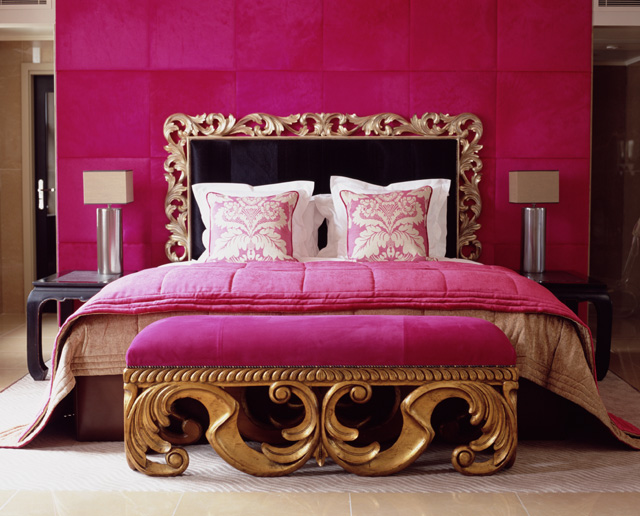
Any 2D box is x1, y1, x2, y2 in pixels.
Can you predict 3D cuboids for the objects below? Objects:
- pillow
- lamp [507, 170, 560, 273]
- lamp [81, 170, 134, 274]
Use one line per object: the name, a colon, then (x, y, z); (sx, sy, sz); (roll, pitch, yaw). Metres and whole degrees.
pillow: (0.042, -0.253, 4.570); (1.744, 0.519, 0.670); (-1, 10, -5)
lamp: (1.489, -0.242, 4.808); (0.343, 0.718, 0.281); (0, 5, 10)
lamp: (-1.453, -0.238, 4.799); (0.357, 0.701, 0.328); (1, 6, 12)
